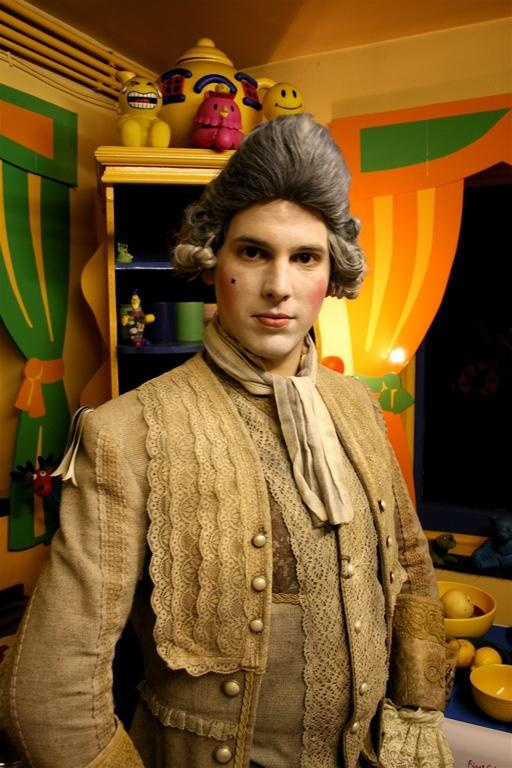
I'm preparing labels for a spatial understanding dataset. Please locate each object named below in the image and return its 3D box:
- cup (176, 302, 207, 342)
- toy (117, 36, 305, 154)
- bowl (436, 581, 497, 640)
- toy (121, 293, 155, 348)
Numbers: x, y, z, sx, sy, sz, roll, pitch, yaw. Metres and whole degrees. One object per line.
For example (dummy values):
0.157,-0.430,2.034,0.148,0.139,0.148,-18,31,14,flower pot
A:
-0.173,-0.162,1.704,0.101,0.108,0.101,0,7,0,cup
-0.095,-0.671,1.595,0.444,0.275,0.301,-1,11,-7,toy
0.498,0.511,1.560,0.161,0.091,0.156,0,-2,0,bowl
-0.296,-0.157,1.631,0.088,0.126,0.075,-6,15,-28,toy
